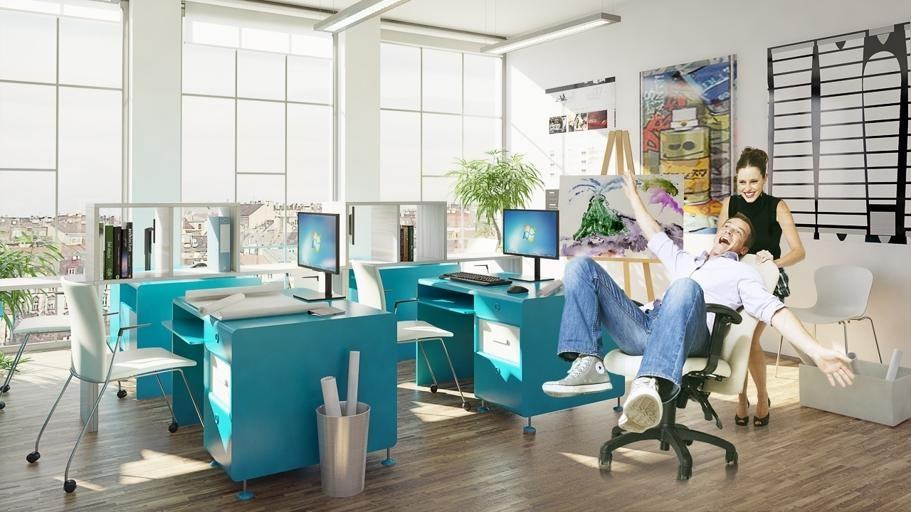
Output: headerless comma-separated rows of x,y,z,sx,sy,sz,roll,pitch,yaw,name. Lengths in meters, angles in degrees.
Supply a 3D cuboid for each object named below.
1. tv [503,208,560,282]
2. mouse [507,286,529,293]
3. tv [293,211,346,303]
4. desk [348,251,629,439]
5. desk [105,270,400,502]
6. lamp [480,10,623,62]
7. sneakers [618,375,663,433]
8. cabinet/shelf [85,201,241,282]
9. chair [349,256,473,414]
0.727,-0.116,6.096,0.899,0.676,0.251,3,-7,-43,tv
0.599,0.318,5.546,0.149,0.039,0.079,-3,4,-30,mouse
-1.286,-0.018,5.451,0.452,0.794,1.014,-1,4,-34,tv
0.621,0.865,6.685,1.561,1.103,2.646,-2,4,-21,desk
-2.005,1.002,5.831,1.817,1.107,2.870,-6,8,-34,desk
1.236,-2.819,7.464,1.774,0.187,0.564,2,7,36,lamp
1.456,1.148,4.488,0.254,0.220,0.519,17,-37,1,sneakers
-3.157,-0.157,6.099,0.541,0.725,1.580,2,3,37,cabinet/shelf
-0.462,0.818,6.118,1.285,1.250,1.006,9,-2,5,chair
